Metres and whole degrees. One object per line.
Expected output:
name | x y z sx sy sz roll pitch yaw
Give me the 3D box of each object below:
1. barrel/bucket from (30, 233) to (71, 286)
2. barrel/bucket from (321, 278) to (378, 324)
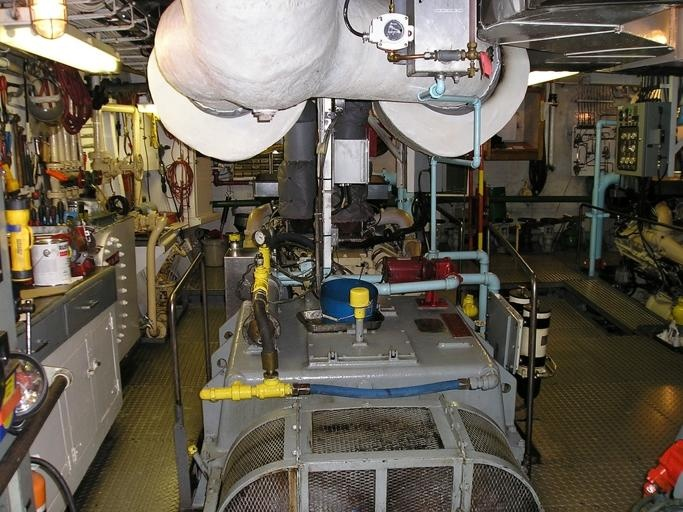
barrel/bucket | -1.949 0.015 3.786 0.286 0.314 0.315 0 5 0
barrel/bucket | 0.046 0.279 3.647 0.378 0.277 0.528 0 12 4
